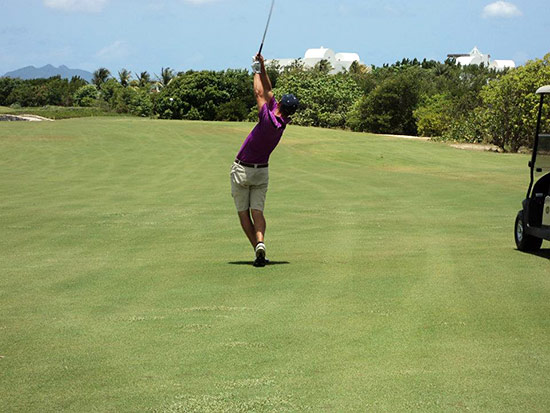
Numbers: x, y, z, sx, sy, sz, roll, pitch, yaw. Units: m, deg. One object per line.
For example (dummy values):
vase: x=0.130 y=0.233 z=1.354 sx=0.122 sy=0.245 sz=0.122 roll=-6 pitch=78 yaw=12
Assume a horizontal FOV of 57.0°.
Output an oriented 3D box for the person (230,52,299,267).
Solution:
person: x=-0.177 y=-0.626 z=7.114 sx=0.891 sy=2.788 sz=0.539 roll=6 pitch=9 yaw=36

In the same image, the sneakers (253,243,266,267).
sneakers: x=-0.198 y=0.652 z=6.900 sx=0.162 sy=0.319 sz=0.179 roll=0 pitch=8 yaw=-1

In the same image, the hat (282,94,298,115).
hat: x=0.188 y=-1.385 z=6.930 sx=0.245 sy=0.288 sz=0.274 roll=0 pitch=8 yaw=0
